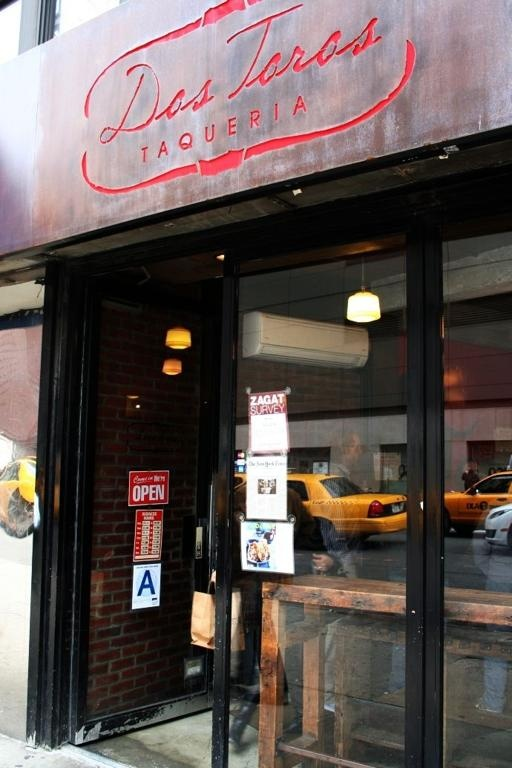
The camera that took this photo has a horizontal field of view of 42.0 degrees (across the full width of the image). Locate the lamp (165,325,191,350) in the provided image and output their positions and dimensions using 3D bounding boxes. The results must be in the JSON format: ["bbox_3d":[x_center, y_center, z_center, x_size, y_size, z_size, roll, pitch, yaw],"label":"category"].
[{"bbox_3d":[-0.531,-0.294,4.560,0.144,0.143,0.145,-9,-14,43],"label":"lamp"}]

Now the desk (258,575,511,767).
[{"bbox_3d":[0.499,1.060,2.439,0.860,0.818,0.308,-2,-3,43],"label":"desk"}]

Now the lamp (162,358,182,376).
[{"bbox_3d":[-0.569,-0.113,4.548,0.102,0.108,0.107,-3,-5,21],"label":"lamp"}]

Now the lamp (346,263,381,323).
[{"bbox_3d":[0.441,-0.387,2.758,0.115,0.300,0.124,3,-23,-2],"label":"lamp"}]
